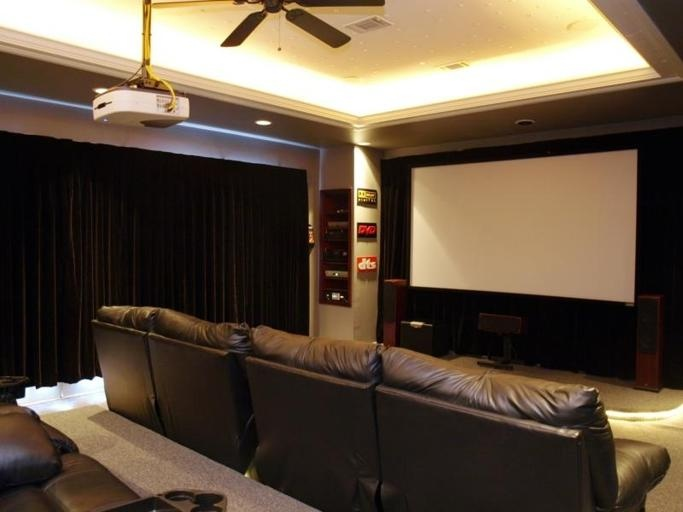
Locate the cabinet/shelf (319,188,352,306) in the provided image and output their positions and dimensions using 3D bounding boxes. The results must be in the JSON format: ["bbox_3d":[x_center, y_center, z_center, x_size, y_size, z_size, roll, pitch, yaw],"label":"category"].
[{"bbox_3d":[-0.075,-0.518,8.026,0.425,1.302,0.137,2,21,5],"label":"cabinet/shelf"}]

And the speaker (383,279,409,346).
[{"bbox_3d":[0.696,0.824,7.629,0.208,0.908,0.265,2,4,0],"label":"speaker"}]

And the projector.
[{"bbox_3d":[-1.199,-0.896,3.150,0.478,0.183,0.487,4,8,44],"label":"projector"}]
